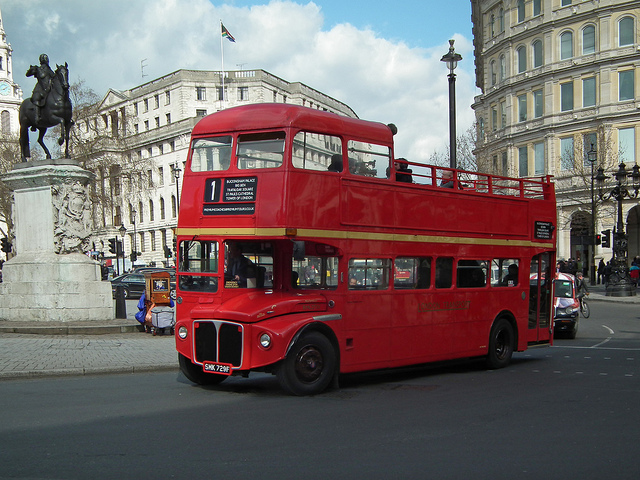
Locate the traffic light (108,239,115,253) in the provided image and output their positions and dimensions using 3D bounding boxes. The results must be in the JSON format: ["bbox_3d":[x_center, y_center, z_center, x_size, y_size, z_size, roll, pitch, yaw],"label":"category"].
[{"bbox_3d":[-10.084,0.295,38.142,0.186,0.619,1.519,0,0,-14],"label":"traffic light"}]

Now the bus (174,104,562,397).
[{"bbox_3d":[1.500,0.230,17.182,3.258,5.168,9.875,1,0,41],"label":"bus"}]

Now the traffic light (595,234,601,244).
[{"bbox_3d":[15.552,-0.012,43.702,0.278,0.535,0.564,-1,-2,35],"label":"traffic light"}]

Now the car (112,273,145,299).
[{"bbox_3d":[-8.506,2.074,35.054,2.497,0.922,1.133,-1,2,-3],"label":"car"}]

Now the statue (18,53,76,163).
[{"bbox_3d":[-8.098,-3.849,23.265,1.359,3.177,1.476,0,1,-38],"label":"statue"}]

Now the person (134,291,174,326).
[{"bbox_3d":[-4.556,1.946,21.692,1.021,0.801,0.660,0,0,-13],"label":"person"}]

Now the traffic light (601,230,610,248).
[{"bbox_3d":[15.392,-0.058,42.109,0.353,0.900,3.059,0,0,18],"label":"traffic light"}]
